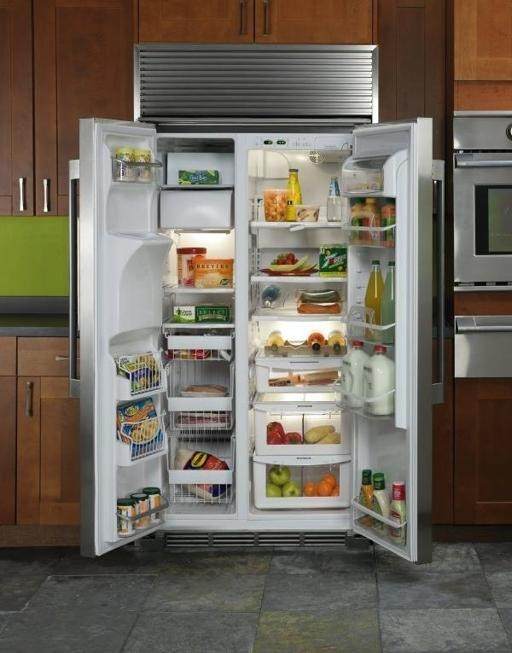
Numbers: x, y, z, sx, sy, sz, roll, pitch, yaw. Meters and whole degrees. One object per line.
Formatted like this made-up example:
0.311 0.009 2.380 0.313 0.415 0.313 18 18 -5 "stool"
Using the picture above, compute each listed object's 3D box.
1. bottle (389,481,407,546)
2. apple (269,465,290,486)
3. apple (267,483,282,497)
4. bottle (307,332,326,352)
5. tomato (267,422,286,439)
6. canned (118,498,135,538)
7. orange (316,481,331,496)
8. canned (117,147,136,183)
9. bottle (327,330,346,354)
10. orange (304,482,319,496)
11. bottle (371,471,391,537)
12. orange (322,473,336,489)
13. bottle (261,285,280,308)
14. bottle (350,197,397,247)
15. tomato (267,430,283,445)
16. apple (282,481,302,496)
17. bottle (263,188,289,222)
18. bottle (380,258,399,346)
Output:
0.492 0.646 2.668 0.049 0.205 0.113 -2 3 -7 "bottle"
0.096 0.604 3.133 0.080 0.081 0.082 -1 10 -2 "apple"
0.069 0.657 3.075 0.048 0.045 0.048 -12 -25 -32 "apple"
0.238 0.061 3.043 0.062 0.073 0.070 -2 9 1 "bottle"
0.085 0.422 3.103 0.060 0.080 0.063 -2 -3 2 "tomato"
-0.465 0.692 2.776 0.067 0.127 0.070 -2 3 -10 "canned"
0.274 0.656 3.087 0.047 0.059 0.048 6 -14 -15 "orange"
-0.451 -0.560 2.660 0.055 0.118 0.069 -2 3 -9 "canned"
0.323 0.064 3.083 0.053 0.047 0.097 0 30 3 "bottle"
0.224 0.662 3.127 0.048 0.048 0.048 0 1 -8 "orange"
0.451 0.603 2.789 0.057 0.145 0.132 -1 3 9 "bottle"
0.297 0.627 3.122 0.047 0.058 0.051 0 -4 11 "orange"
0.059 -0.137 3.235 0.067 0.077 0.092 1 0 1 "bottle"
0.412 -0.365 2.677 0.098 0.184 0.192 -1 2 -25 "bottle"
0.076 0.441 3.071 0.050 0.066 0.050 0 2 35 "tomato"
0.143 0.659 3.092 0.054 0.055 0.065 10 12 -9 "apple"
0.076 -0.473 3.004 0.109 0.125 0.114 0 1 2 "bottle"
0.451 -0.075 2.628 0.048 0.293 0.170 -1 3 9 "bottle"
